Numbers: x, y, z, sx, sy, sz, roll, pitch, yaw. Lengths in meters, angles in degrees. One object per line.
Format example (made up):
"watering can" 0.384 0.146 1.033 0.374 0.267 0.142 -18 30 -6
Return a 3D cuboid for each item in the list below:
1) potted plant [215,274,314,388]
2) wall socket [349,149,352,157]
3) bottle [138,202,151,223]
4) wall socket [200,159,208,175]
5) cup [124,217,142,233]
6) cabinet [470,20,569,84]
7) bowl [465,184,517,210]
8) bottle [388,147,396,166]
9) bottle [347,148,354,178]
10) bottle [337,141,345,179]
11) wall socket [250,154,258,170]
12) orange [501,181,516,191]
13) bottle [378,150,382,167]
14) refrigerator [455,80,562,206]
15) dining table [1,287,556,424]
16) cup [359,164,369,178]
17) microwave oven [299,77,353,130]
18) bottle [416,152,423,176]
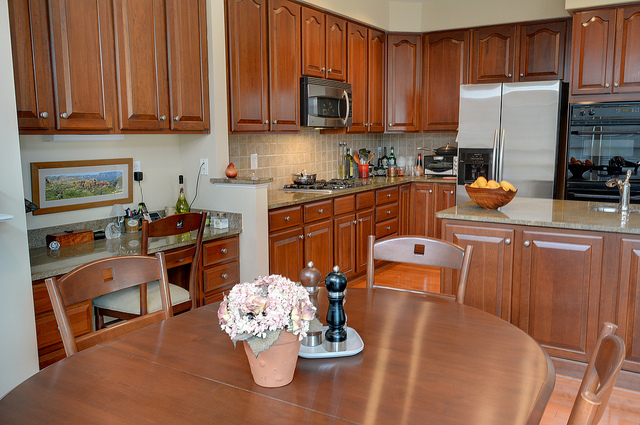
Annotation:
"potted plant" -0.205 0.425 1.603 0.398 0.382 0.364 20 -30 -20
"wall socket" 0.423 -0.819 5.941 0.030 0.077 0.080 5 16 29
"bottle" -1.440 0.001 3.582 0.056 0.045 0.264 -15 30 -16
"wall socket" -1.025 -0.404 3.877 0.084 0.130 0.022 4 15 27
"cup" -1.500 0.100 3.504 0.114 0.106 0.097 3 4 22
"cabinet" 2.577 -2.148 5.679 1.147 0.780 0.614 5 43 26
"bowl" 1.360 -0.120 3.473 0.415 0.194 0.455 1 9 0
"bottle" 1.053 -0.811 6.411 0.108 0.240 0.379 -1 14 10
"bottle" 0.408 -0.674 5.912 0.075 0.382 0.156 -3 14 3
"bottle" 0.280 -0.697 5.774 0.078 0.472 0.169 1 14 16
"wall socket" -0.683 -0.525 4.524 0.014 0.180 0.157 0 4 33
"orange" 1.427 -0.191 3.304 0.108 0.061 0.085 18 16 -41
"bottle" 0.882 -0.798 6.427 0.056 0.220 0.190 -1 14 9
"refrigerator" 2.154 -0.774 5.125 1.118 1.437 0.331 4 15 28
"dining table" -0.085 0.590 1.751 1.963 0.148 0.753 -4 14 -2
"cup" 0.612 -0.564 5.908 0.192 0.185 0.102 -16 18 -42
"microwave oven" 0.024 -1.203 4.963 0.500 0.510 0.805 6 11 36
"bottle" 1.426 -0.703 6.279 0.087 0.287 0.232 0 14 12
